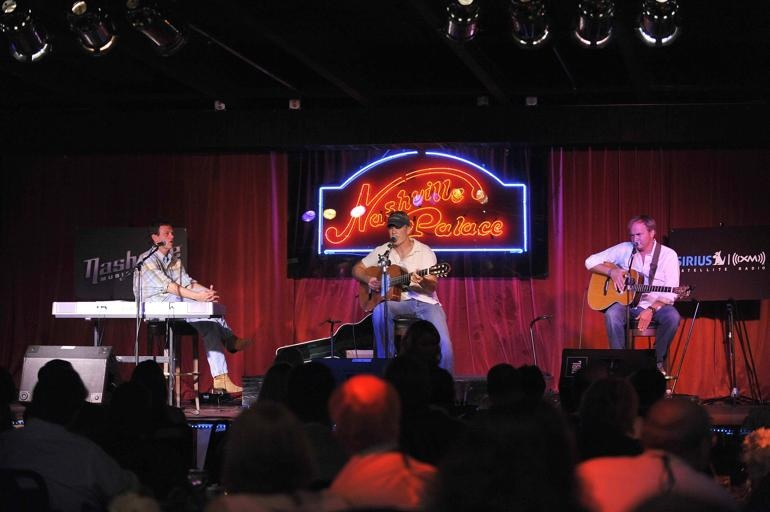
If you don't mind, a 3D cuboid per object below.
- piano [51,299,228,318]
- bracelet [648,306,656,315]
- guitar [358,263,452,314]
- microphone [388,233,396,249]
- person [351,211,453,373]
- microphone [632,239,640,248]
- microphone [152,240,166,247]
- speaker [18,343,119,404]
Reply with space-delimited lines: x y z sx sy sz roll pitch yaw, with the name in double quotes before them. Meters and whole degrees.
"piano" -2.629 0.567 7.485 1.832 0.199 0.472 -3 -7 18
"bracelet" 2.966 0.608 7.822 0.063 0.098 0.033 4 -3 4
"guitar" 0.156 0.341 7.995 1.073 0.514 0.318 -5 -8 33
"microphone" 0.075 -0.167 8.012 0.055 0.073 0.218 2 20 6
"person" 0.258 0.518 8.163 1.108 2.047 0.872 10 22 39
"microphone" 2.842 -0.136 8.019 0.072 0.108 0.027 22 -18 -19
"microphone" -2.473 -0.129 7.782 0.102 0.080 0.128 2 -7 -18
"speaker" -3.075 1.148 6.830 0.762 0.565 0.399 3 -13 -11
